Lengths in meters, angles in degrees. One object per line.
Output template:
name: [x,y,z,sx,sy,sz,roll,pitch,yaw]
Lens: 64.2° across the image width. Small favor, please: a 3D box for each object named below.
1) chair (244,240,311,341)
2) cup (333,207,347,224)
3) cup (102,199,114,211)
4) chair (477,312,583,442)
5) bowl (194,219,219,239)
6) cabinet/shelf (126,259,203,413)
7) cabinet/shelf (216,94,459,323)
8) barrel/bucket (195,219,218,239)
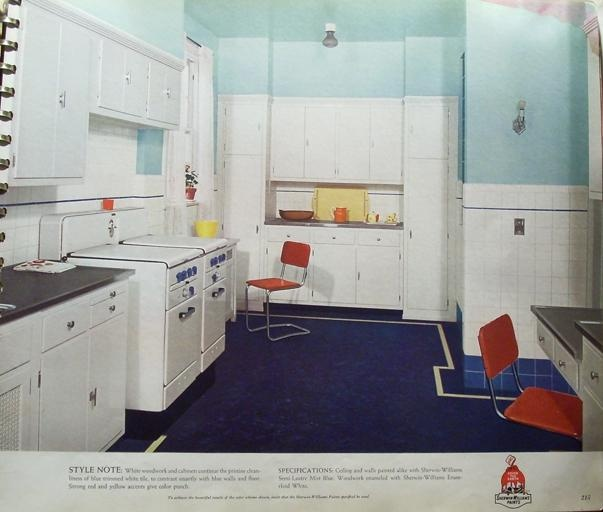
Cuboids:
chair: [-0.193,0.226,3.806,0.550,0.685,0.922,0,11,0]
cup: [0.351,-0.368,4.363,0.140,0.140,0.093,1,6,-15]
cup: [-1.077,-0.280,2.714,0.071,0.074,0.072,0,-1,0]
chair: [0.791,0.425,1.921,0.544,0.394,0.329,5,10,45]
bowl: [-0.718,-0.201,3.651,0.147,0.111,0.151,0,-1,0]
cabinet/shelf: [-0.620,0.339,2.333,0.180,0.680,0.468,5,11,27]
cabinet/shelf: [0.311,-0.404,4.108,1.877,1.783,0.615,0,1,8]
barrel/bucket: [-0.716,-0.196,3.629,0.166,0.130,0.369,-2,11,-13]
